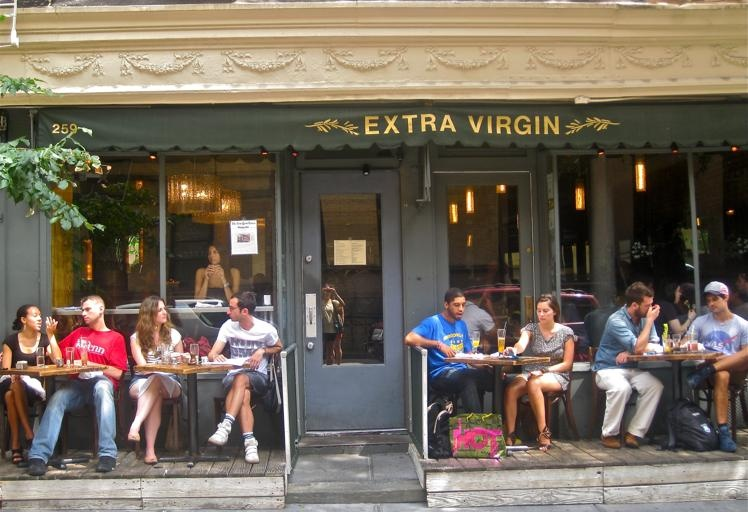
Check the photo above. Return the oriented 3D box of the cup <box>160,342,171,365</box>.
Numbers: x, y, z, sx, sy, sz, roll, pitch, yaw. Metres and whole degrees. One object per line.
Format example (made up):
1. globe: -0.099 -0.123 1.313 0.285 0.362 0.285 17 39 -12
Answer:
1. cup: -2.596 1.235 10.647 0.189 0.317 0.190 1 -5 0

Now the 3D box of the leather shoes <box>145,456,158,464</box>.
1. leather shoes: -2.717 2.485 10.367 0.164 0.093 0.127 -1 -3 -18

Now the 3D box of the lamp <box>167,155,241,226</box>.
1. lamp: -2.194 -0.887 11.775 0.884 0.992 0.888 1 -1 18

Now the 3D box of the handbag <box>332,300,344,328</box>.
1. handbag: -0.491 0.808 11.741 0.117 0.327 0.231 3 -1 -31

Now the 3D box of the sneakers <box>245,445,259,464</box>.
1. sneakers: -1.496 2.410 10.359 0.143 0.169 0.420 1 -11 -8

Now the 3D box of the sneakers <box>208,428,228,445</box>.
1. sneakers: -1.899 2.215 10.450 0.227 0.236 0.300 -2 -3 -9

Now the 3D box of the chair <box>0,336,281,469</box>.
1. chair: -2.496 1.801 10.584 2.660 1.516 0.985 -2 -3 -2

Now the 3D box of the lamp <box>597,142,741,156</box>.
1. lamp: 4.075 -1.457 11.653 2.165 0.110 0.288 -2 -3 -3

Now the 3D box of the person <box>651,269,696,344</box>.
1. person: 4.291 0.865 11.919 0.375 0.369 1.179 19 -22 29

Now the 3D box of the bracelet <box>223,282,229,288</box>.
1. bracelet: -1.987 0.388 11.441 0.058 0.064 0.062 -4 8 -3

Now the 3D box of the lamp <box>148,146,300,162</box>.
1. lamp: -1.956 -1.383 11.310 1.381 0.186 0.115 -2 29 -8

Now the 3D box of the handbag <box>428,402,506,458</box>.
1. handbag: 1.156 2.196 10.721 0.692 0.700 0.190 -3 -2 4

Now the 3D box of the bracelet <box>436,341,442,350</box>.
1. bracelet: 0.833 1.133 10.886 0.061 0.090 0.082 1 -7 6

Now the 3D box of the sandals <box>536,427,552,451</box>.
1. sandals: 2.126 2.259 10.679 0.163 0.287 0.276 -3 -3 11

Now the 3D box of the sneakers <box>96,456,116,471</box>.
1. sneakers: -3.204 2.468 10.169 0.218 0.171 0.196 -1 -3 -18

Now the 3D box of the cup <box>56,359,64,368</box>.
1. cup: -3.849 1.305 10.429 0.079 0.056 0.071 2 -7 1

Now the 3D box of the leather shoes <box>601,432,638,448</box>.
1. leather shoes: 3.072 2.294 10.705 0.172 0.231 0.535 2 -9 -29

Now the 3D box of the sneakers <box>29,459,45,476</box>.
1. sneakers: -4.004 2.500 10.124 0.187 0.191 0.207 -1 -3 -21
